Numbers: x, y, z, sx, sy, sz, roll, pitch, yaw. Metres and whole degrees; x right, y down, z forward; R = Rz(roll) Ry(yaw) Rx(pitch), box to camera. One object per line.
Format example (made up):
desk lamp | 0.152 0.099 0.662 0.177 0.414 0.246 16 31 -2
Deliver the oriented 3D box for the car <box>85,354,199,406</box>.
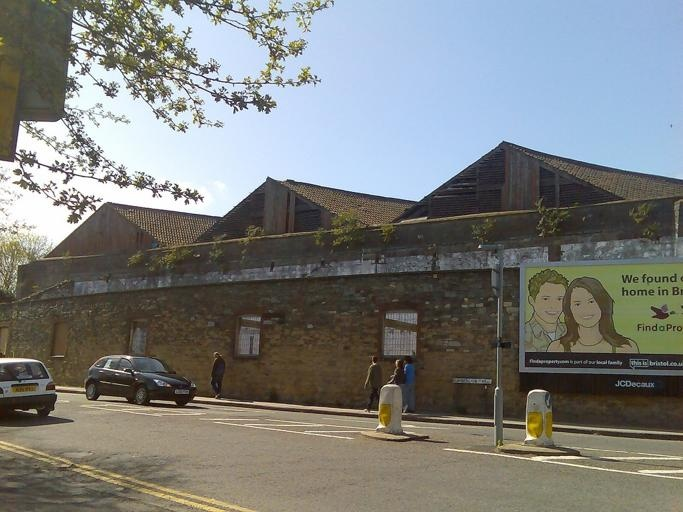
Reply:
car | -7.196 4.251 21.341 3.812 1.481 1.829 -6 -12 36

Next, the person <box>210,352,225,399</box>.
person | -5.124 4.908 24.624 0.540 1.879 1.522 4 -11 -10
